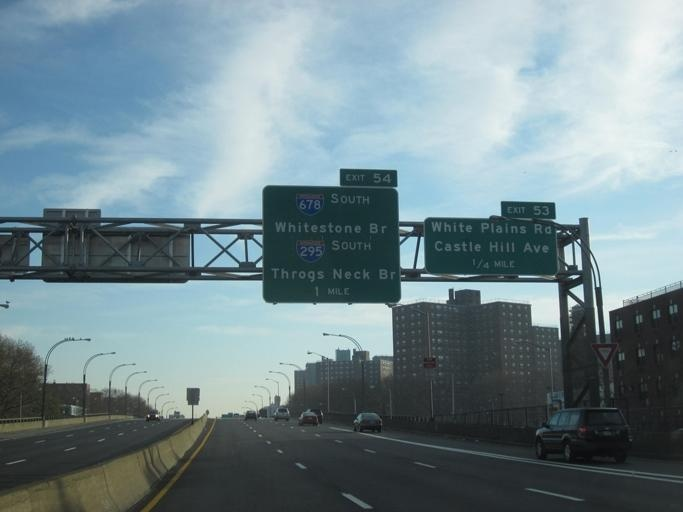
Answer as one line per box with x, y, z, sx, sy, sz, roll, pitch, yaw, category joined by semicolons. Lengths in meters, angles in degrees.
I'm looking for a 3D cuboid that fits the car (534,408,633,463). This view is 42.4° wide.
9.837;7.511;36.736;1.939;2.248;4.208;6;-16;-33;car
